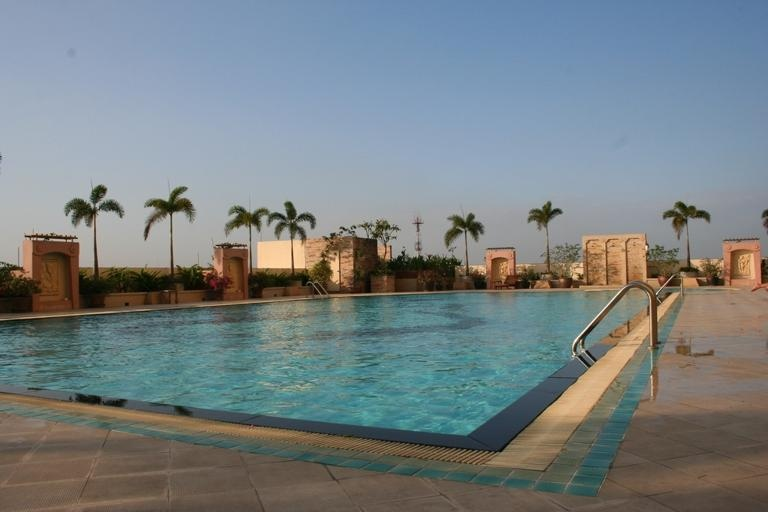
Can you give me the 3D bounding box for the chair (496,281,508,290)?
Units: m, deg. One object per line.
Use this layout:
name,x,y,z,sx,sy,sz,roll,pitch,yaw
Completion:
chair,7.485,1.910,32.468,0.613,0.611,0.534,-1,-10,8

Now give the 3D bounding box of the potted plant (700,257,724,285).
potted plant,19.764,0.935,30.750,0.985,1.722,2.345,-3,-1,32
